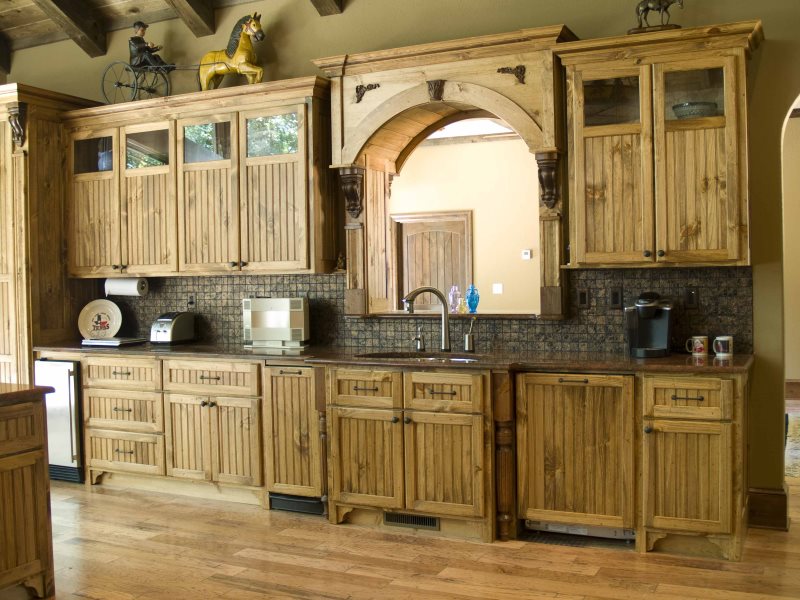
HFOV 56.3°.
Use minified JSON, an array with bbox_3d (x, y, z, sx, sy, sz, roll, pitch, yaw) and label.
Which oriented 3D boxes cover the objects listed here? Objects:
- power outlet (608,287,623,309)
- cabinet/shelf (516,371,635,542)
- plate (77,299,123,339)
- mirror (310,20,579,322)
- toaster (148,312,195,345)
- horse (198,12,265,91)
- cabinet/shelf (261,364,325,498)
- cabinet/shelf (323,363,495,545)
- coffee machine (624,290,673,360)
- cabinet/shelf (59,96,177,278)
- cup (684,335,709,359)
[{"bbox_3d":[1.478,-0.013,5.104,0.089,0.153,0.037,0,10,14],"label":"power outlet"},{"bbox_3d":[1.105,0.930,4.702,0.725,0.947,0.236,0,10,9],"label":"cabinet/shelf"},{"bbox_3d":[-2.579,0.168,6.414,0.410,0.316,0.085,2,-5,9],"label":"plate"},{"bbox_3d":[0.411,-1.027,6.313,2.979,2.238,0.976,0,5,23],"label":"mirror"},{"bbox_3d":[-1.867,0.229,6.172,0.270,0.268,0.339,-2,-5,23],"label":"toaster"},{"bbox_3d":[-1.339,-1.928,6.010,0.780,0.574,0.243,3,14,33],"label":"horse"},{"bbox_3d":[-0.755,0.918,5.274,0.523,0.914,0.156,4,11,30],"label":"cabinet/shelf"},{"bbox_3d":[-0.084,1.018,5.084,1.346,1.026,0.515,11,-22,-33],"label":"cabinet/shelf"},{"bbox_3d":[1.648,0.157,4.937,0.338,0.363,0.400,-1,5,26],"label":"coffee machine"},{"bbox_3d":[-2.217,-0.869,6.370,1.371,1.378,0.442,0,0,27],"label":"cabinet/shelf"},{"bbox_3d":[1.961,0.306,4.838,0.196,0.137,0.116,0,0,28],"label":"cup"}]
